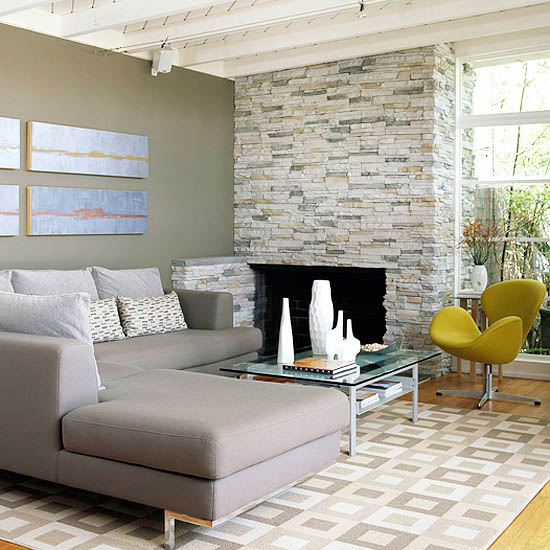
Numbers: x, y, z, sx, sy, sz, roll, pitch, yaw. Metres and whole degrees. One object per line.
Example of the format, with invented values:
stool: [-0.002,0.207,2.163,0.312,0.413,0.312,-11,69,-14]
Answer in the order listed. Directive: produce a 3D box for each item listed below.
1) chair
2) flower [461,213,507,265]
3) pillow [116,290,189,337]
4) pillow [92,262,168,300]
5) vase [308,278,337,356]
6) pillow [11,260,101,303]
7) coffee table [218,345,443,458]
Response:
chair: [1.610,0.505,4.055,0.835,0.954,0.787,0,0,13]
flower: [1.934,-0.334,5.112,0.278,0.464,0.374,1,-1,-44]
pillow: [-0.981,0.309,4.205,0.154,0.278,0.558,-26,-13,41]
pillow: [-1.233,0.052,4.413,0.101,0.192,0.388,-33,-24,35]
vase: [0.273,0.247,3.542,0.205,0.438,0.161,1,41,5]
pillow: [-1.510,0.043,3.637,0.074,0.185,0.383,-35,-27,30]
coffee table: [0.310,0.872,3.298,0.698,0.222,1.106,0,1,33]
